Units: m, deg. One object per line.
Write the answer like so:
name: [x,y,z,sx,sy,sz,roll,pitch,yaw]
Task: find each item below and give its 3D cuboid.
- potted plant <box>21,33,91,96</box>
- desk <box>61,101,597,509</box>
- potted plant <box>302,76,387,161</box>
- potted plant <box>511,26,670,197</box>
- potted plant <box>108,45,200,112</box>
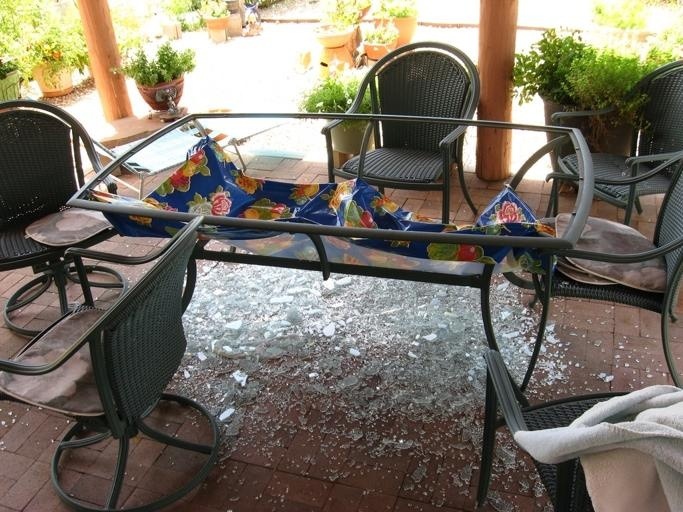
potted plant: [-3.560,-2.352,5.862,0.832,0.674,0.728,4,32,0]
desk: [-0.050,0.242,2.195,2.257,0.461,1.226,3,40,14]
potted plant: [-0.013,-1.090,3.851,0.825,0.670,0.651,-2,25,0]
potted plant: [1.634,-1.126,3.586,1.269,1.092,1.087,-4,19,-2]
potted plant: [-2.002,-1.929,5.095,0.880,0.630,0.740,-1,27,3]
